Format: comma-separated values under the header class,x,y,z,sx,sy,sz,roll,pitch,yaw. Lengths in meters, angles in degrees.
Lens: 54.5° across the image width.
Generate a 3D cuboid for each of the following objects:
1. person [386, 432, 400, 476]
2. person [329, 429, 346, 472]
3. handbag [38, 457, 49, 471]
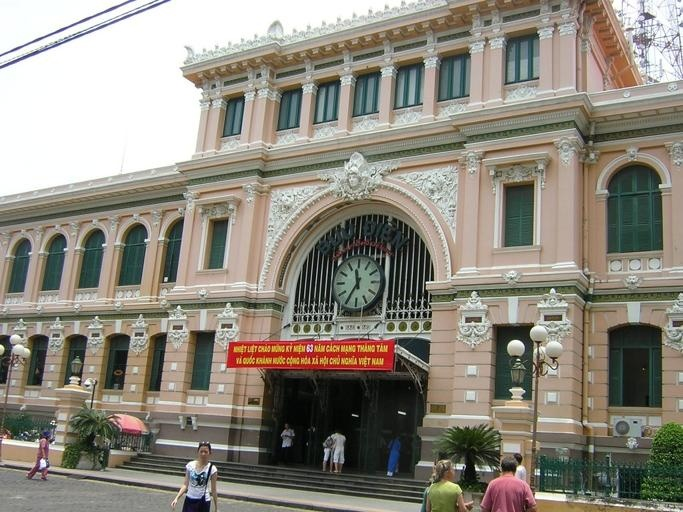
class,x,y,z,sx,sy,sz,roll,pitch,yaw
person,2.112,8.109,27.050,0.549,1.633,1.412,0,-16,5
person,-0.194,7.968,27.087,0.484,1.637,1.078,4,-16,-5
handbag,-10.594,7.354,23.386,0.343,0.506,0.605,9,-18,-24
